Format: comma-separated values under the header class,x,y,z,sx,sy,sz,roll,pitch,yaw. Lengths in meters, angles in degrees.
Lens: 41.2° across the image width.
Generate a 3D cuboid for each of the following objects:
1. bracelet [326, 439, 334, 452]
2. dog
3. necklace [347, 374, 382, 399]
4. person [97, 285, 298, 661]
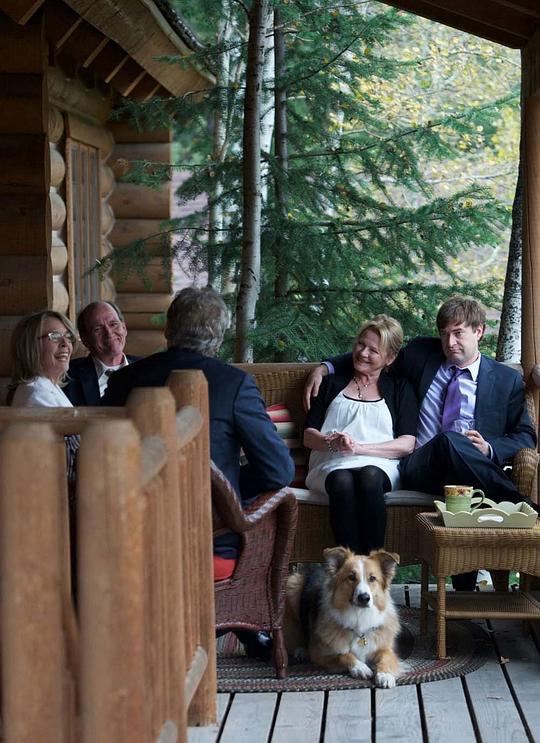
class,x,y,z,sx,sy,sz,roll,pitch,yaw
bracelet,0.296,0.354,3.499,0.049,0.037,0.036,-12,12,14
dog,0.333,0.997,3.033,0.516,0.437,0.877,4,-12,-9
necklace,0.488,0.086,3.740,0.156,0.054,0.129,4,44,-3
person,-0.212,0.368,2.588,0.465,1.373,0.614,-3,-1,39
